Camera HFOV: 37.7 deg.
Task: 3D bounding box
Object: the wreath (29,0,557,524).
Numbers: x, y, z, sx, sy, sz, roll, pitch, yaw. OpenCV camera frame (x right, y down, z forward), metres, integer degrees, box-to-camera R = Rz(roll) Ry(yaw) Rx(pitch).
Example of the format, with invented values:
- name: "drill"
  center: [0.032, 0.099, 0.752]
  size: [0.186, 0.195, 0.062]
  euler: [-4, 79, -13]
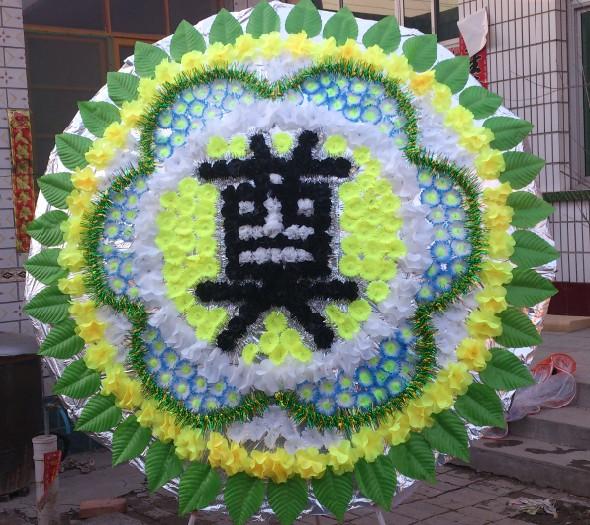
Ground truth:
- name: "wreath"
  center: [-0.009, 0.036, 4.058]
  size: [2.367, 2.245, 0.755]
  euler: [-1, 6, 11]
